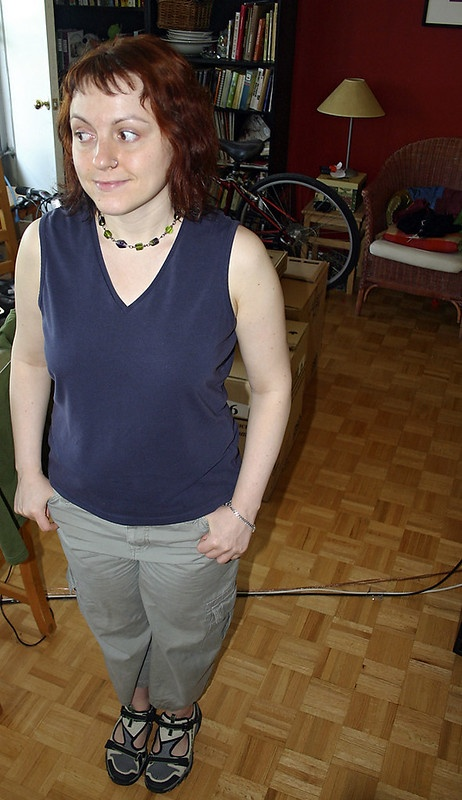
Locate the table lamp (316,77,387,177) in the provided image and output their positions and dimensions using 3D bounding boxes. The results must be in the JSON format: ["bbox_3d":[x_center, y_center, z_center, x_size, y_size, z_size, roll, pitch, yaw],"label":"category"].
[{"bbox_3d":[0.782,-1.882,4.012,0.391,0.614,0.517,-4,28,-6],"label":"table lamp"}]

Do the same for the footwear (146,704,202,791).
[{"bbox_3d":[-0.131,0.857,1.433,0.087,0.104,0.212,3,39,7],"label":"footwear"}]

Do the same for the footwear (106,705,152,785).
[{"bbox_3d":[-0.248,0.829,1.478,0.080,0.092,0.227,6,33,-1],"label":"footwear"}]

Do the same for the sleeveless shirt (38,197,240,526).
[{"bbox_3d":[-0.155,-0.033,0.895,0.324,0.472,0.176,4,28,10],"label":"sleeveless shirt"}]
